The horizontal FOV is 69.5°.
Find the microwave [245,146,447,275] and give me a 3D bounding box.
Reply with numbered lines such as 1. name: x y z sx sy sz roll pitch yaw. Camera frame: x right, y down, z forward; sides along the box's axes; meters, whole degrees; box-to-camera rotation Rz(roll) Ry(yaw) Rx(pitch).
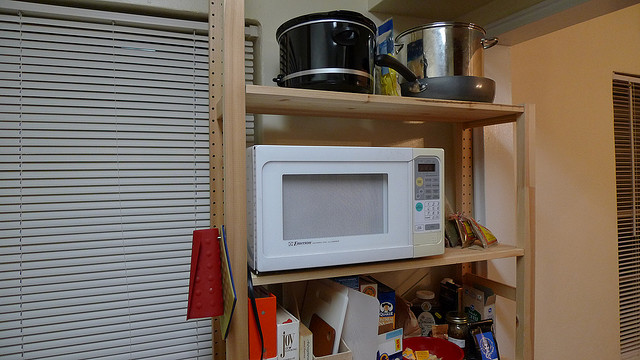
1. microwave: 0.031 0.111 2.435 1.113 0.545 0.576 -1 3 -29

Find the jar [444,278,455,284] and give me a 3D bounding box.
1. jar: 0.755 0.591 2.684 0.053 0.027 0.080 -2 1 9

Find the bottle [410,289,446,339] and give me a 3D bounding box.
1. bottle: 0.613 0.751 2.611 0.184 0.244 0.217 -2 1 -1

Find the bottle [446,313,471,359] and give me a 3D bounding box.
1. bottle: 0.747 0.838 2.481 0.128 0.225 0.079 -2 0 14
